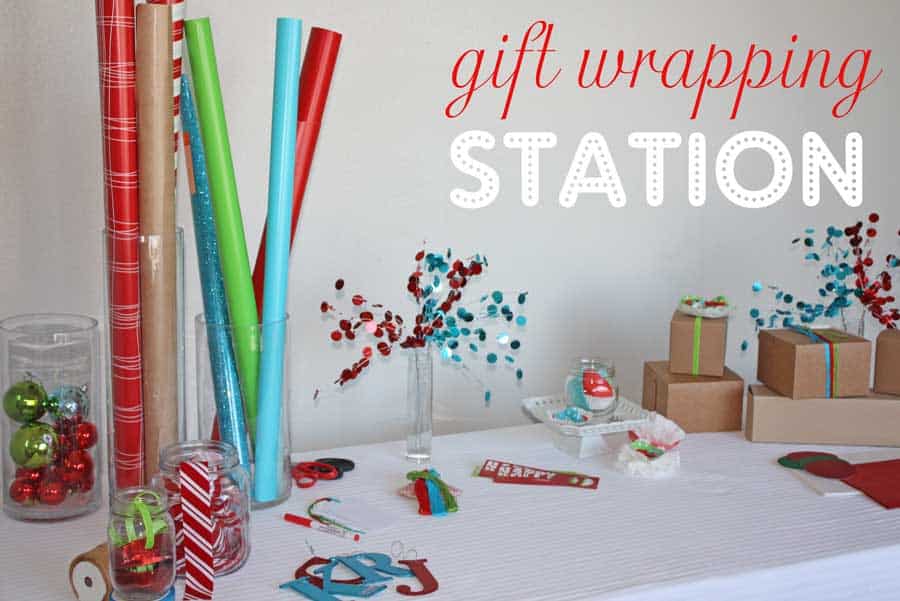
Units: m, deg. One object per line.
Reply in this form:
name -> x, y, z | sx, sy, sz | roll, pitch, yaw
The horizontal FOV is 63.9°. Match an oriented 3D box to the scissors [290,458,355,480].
scissors -> -0.305, 0.395, 1.716 | 0.090, 0.011, 0.056 | 5, 13, 27

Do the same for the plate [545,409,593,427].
plate -> 0.308, 0.297, 1.852 | 0.056, 0.014, 0.058 | -2, 15, -13

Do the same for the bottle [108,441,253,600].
bottle -> -0.480, 0.399, 1.304 | 0.157, 0.263, 0.217 | 3, 8, 13

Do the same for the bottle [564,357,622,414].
bottle -> 0.376, 0.217, 1.868 | 0.156, 0.138, 0.122 | 1, 8, -3
